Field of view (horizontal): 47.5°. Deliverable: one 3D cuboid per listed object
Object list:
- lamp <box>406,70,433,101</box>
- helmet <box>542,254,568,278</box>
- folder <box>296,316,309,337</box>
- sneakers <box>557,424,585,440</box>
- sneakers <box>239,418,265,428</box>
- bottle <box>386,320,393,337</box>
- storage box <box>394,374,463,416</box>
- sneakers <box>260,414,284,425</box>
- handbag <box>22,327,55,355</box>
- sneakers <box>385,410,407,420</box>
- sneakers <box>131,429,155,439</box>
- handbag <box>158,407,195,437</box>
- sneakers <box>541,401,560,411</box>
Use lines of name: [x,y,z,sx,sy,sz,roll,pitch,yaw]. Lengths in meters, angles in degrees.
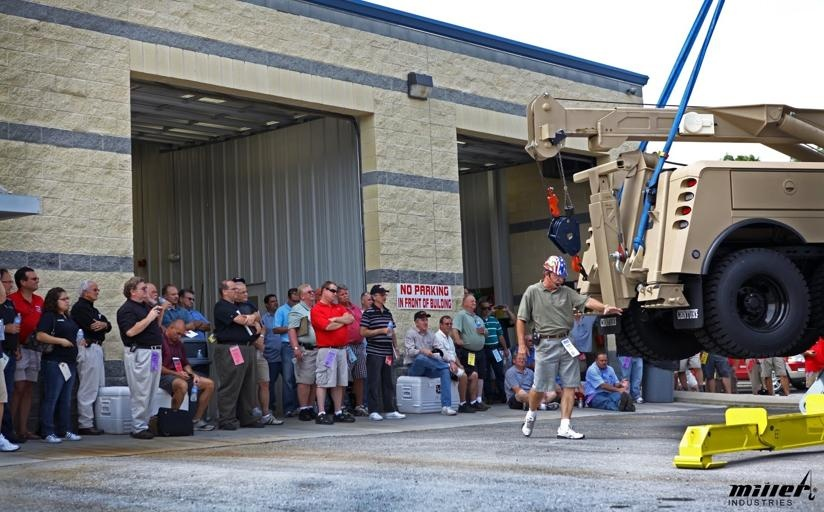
lamp: [0.156,-3.630,20.019,0.642,0.602,0.347,8,-17,-43]
helmet: [2.193,0.157,14.335,0.391,0.320,0.296,6,4,44]
folder: [-1.941,1.266,16.896,0.331,0.306,0.103,4,-11,10]
sneakers: [2.344,2.644,14.013,0.455,0.189,0.163,2,-3,5]
sneakers: [-2.677,2.864,15.953,0.429,0.154,0.140,0,-5,2]
bottle: [-0.385,1.349,17.407,0.067,0.200,0.148,2,7,-6]
storage box: [0.300,2.774,18.886,0.735,0.707,1.180,-6,-9,44]
sneakers: [-2.436,2.887,16.478,0.432,0.159,0.146,3,-4,2]
handbag: [-5.750,1.302,14.579,0.359,0.295,0.137,20,19,-11]
sneakers: [-0.294,2.989,17.505,0.338,0.133,0.131,-1,-9,10]
sneakers: [-4.190,2.814,14.779,0.375,0.146,0.131,-6,-10,27]
handbag: [-3.718,2.656,14.885,0.459,0.313,0.200,7,-15,-34]
sneakers: [2.825,2.984,18.691,0.453,0.178,0.147,-5,6,-14]
